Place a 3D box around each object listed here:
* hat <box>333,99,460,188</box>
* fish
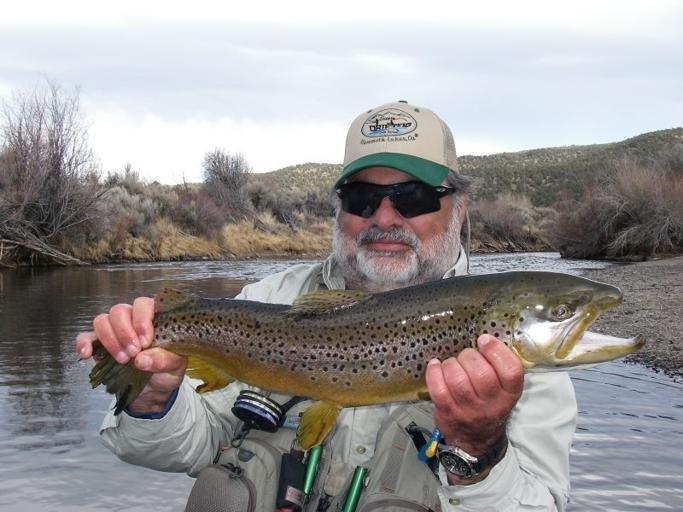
[{"bbox_3d":[0.565,-0.717,4.998,0.971,0.681,1.287,-1,-1,22],"label":"hat"},{"bbox_3d":[0.233,0.482,3.516,2.693,0.785,0.365,1,9,12],"label":"fish"}]
